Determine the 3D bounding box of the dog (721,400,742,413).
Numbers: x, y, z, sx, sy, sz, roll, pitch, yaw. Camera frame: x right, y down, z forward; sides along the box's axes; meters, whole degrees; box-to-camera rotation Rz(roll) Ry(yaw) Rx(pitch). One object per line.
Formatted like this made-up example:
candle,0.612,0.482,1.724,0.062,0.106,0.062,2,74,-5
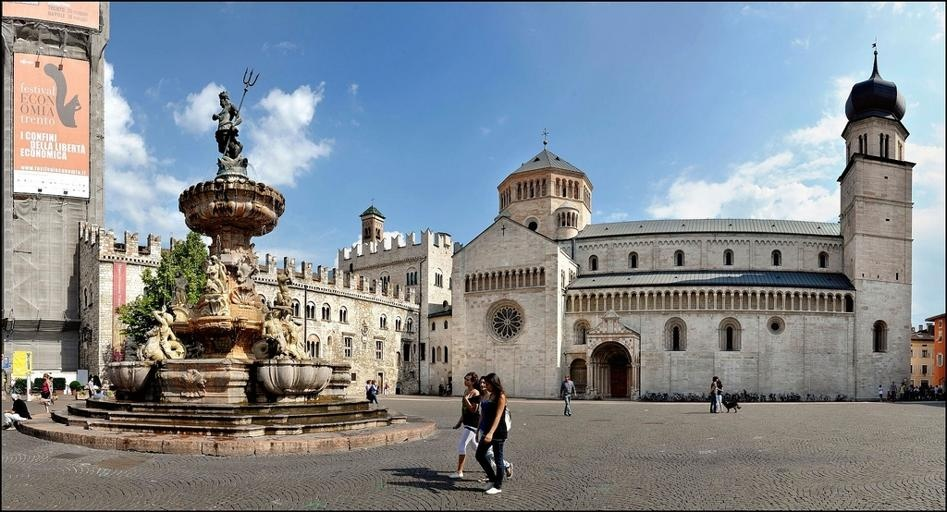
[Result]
dog,22.615,13.197,86.538,1.069,1.341,2.895,5,-3,-4
